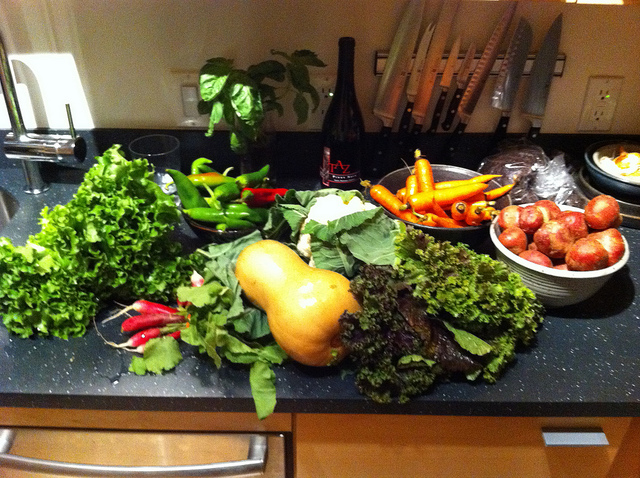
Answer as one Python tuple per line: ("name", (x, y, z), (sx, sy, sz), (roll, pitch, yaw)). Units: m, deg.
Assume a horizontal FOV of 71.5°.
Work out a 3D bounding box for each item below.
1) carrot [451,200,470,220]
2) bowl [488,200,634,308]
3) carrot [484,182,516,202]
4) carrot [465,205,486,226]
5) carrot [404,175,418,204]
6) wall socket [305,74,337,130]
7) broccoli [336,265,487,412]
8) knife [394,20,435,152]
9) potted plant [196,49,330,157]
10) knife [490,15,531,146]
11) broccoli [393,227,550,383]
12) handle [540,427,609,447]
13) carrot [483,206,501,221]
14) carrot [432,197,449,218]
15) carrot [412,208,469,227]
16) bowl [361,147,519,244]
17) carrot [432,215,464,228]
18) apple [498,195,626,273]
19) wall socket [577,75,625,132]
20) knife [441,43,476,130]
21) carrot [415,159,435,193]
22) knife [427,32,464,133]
("carrot", (0.369, -0.084, 1.207), (0.038, 0.051, 0.052), (26, 17, 15))
("bowl", (0.570, 0.023, 1.058), (0.302, 0.207, 0.311), (-4, 26, 2))
("carrot", (0.510, -0.133, 1.275), (0.105, 0.026, 0.029), (-25, 47, -7))
("carrot", (0.406, -0.063, 1.162), (0.031, 0.028, 0.046), (40, -7, 11))
("carrot", (0.264, -0.144, 1.291), (0.033, 0.030, 0.090), (-2, 45, 7))
("wall socket", (0.000, -0.444, 1.465), (0.088, 0.180, 0.023), (3, 34, -3))
("broccoli", (0.210, 0.227, 1.040), (0.294, 0.299, 0.148), (56, 10, 11))
("knife", (0.293, -0.467, 1.403), (0.056, 0.398, 0.022), (17, 30, 0))
("potted plant", (-0.139, -0.333, 1.345), (0.369, 0.261, 0.351), (-9, 7, -5))
("knife", (0.593, -0.481, 1.410), (0.072, 0.385, 0.059), (13, 34, 12))
("broccoli", (0.291, 0.107, 1.085), (0.322, 0.174, 0.323), (38, 0, -16))
("handle", (0.585, 0.438, 0.990), (0.158, 0.010, 0.050), (-2, 57, -2))
("carrot", (0.443, -0.066, 1.157), (0.042, 0.016, 0.020), (12, -9, 1))
("carrot", (0.324, -0.079, 1.221), (0.014, 0.020, 0.075), (-19, 72, -36))
("carrot", (0.311, -0.056, 1.187), (0.176, 0.040, 0.053), (6, -12, -2))
("bowl", (0.327, -0.171, 1.385), (0.280, 0.140, 0.299), (5, 10, -1))
("carrot", (0.345, -0.046, 1.205), (0.074, 0.020, 0.016), (14, 14, 10))
("apple", (0.588, -0.012, 1.071), (0.218, 0.093, 0.226), (6, 29, 20))
("wall socket", (0.920, -0.442, 1.468), (0.126, 0.178, 0.035), (2, 34, -5))
("knife", (0.426, -0.476, 1.434), (0.045, 0.278, 0.024), (16, 33, -1))
("carrot", (0.299, -0.181, 1.284), (0.038, 0.110, 0.035), (-4, -13, 10))
("knife", (0.383, -0.483, 1.421), (0.045, 0.328, 0.017), (9, 26, -11))
